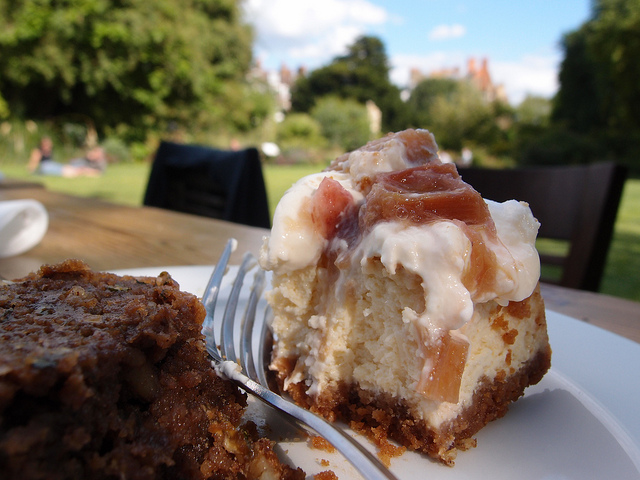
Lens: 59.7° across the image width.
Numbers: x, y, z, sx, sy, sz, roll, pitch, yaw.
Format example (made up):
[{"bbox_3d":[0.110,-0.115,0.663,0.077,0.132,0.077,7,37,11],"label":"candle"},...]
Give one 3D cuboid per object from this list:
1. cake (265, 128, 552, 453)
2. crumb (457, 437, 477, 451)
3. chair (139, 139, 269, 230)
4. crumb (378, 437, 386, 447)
[{"bbox_3d":[0.302,0.115,1.853,0.793,0.916,0.832,9,15,38],"label":"cake"},{"bbox_3d":[0.423,0.588,1.595,0.055,0.025,0.028,7,8,-15],"label":"crumb"},{"bbox_3d":[-0.811,-0.376,3.404,0.309,0.495,0.326,22,2,3],"label":"chair"},{"bbox_3d":[0.181,0.585,1.609,0.009,0.010,0.032,5,16,22],"label":"crumb"}]
